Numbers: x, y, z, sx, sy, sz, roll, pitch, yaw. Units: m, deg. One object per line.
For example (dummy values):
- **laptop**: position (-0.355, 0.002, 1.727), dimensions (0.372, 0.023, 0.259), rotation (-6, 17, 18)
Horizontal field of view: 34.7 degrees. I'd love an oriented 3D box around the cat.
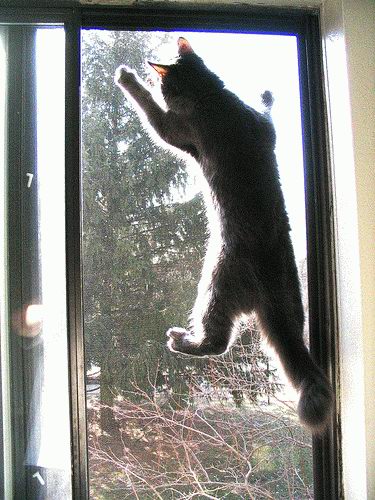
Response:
- **cat**: position (0.129, -0.106, 1.892), dimensions (0.391, 1.351, 0.353), rotation (-7, 6, -10)
